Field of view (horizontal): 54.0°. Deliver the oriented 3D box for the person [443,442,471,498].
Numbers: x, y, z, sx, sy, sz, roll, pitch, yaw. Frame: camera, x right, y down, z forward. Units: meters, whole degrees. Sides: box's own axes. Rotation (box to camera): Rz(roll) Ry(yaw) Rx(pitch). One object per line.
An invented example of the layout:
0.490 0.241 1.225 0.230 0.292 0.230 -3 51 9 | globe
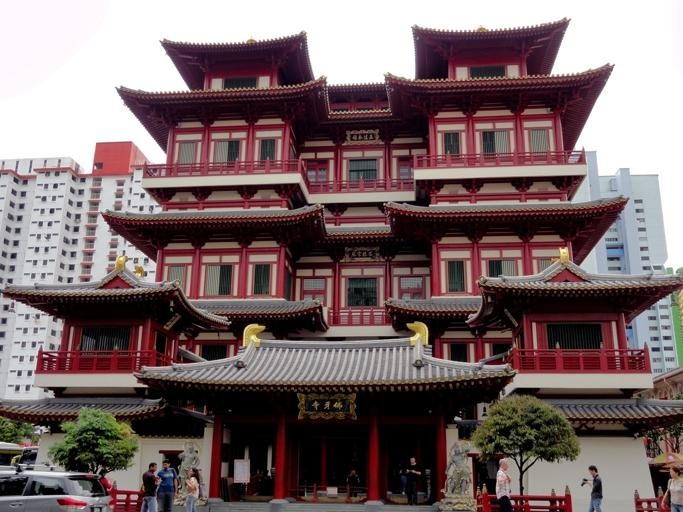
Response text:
4.877 8.868 28.060 1.069 2.214 0.673 -2 -24 6 | person
